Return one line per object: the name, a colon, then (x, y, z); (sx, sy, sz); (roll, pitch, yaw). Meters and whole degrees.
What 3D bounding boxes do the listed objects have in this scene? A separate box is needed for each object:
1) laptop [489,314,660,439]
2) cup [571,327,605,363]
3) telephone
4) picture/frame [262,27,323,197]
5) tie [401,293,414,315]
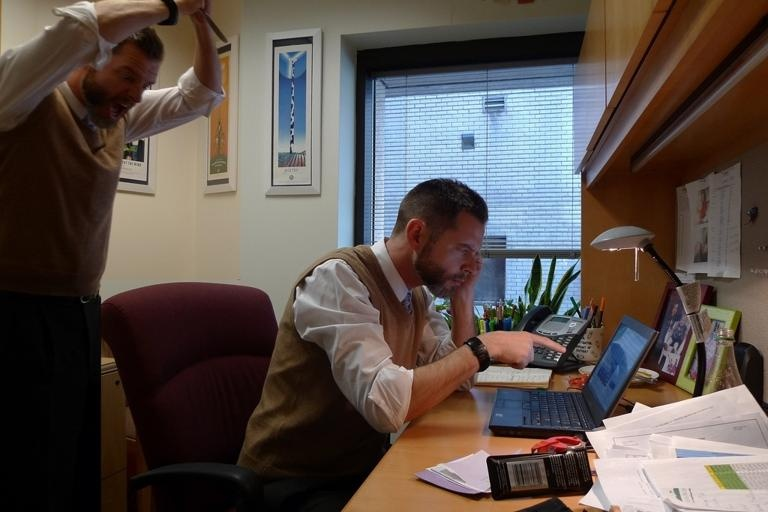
laptop: (0.523, 0.331, 1.646); (0.265, 0.383, 0.405); (21, 7, 0)
cup: (0.845, 0.364, 2.262); (0.117, 0.149, 0.132); (1, 6, 4)
telephone: (0.703, 0.320, 2.250); (0.246, 0.175, 0.202); (-7, 4, -41)
picture/frame: (-0.527, -0.811, 3.104); (0.345, 0.837, 0.040); (-13, 24, -40)
tie: (0.079, 0.162, 1.847); (0.044, 0.065, 0.032); (0, -10, -1)
